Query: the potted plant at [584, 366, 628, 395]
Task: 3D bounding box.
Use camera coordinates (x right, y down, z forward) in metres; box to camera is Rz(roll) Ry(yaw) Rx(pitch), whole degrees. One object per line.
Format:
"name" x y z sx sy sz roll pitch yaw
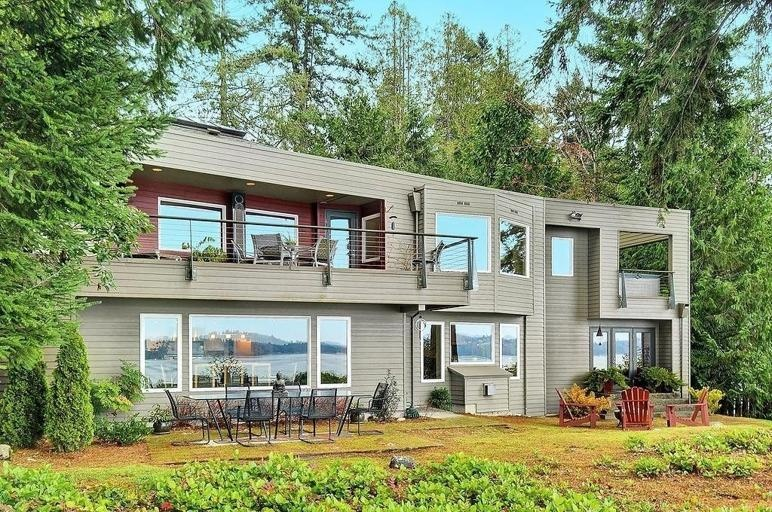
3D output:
"potted plant" 8.081 4.669 31.659 1.107 0.754 1.106 0 -14 -5

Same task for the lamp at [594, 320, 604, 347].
"lamp" 8.047 3.000 32.456 0.320 0.864 0.687 4 5 22

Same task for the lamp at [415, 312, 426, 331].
"lamp" 1.148 2.174 28.429 0.265 0.650 0.517 5 5 35

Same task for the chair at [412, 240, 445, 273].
"chair" 1.381 0.009 27.080 1.098 1.156 0.825 1 -5 -4

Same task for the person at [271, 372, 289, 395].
"person" -3.101 3.704 24.775 0.616 0.959 0.565 2 -9 -11
